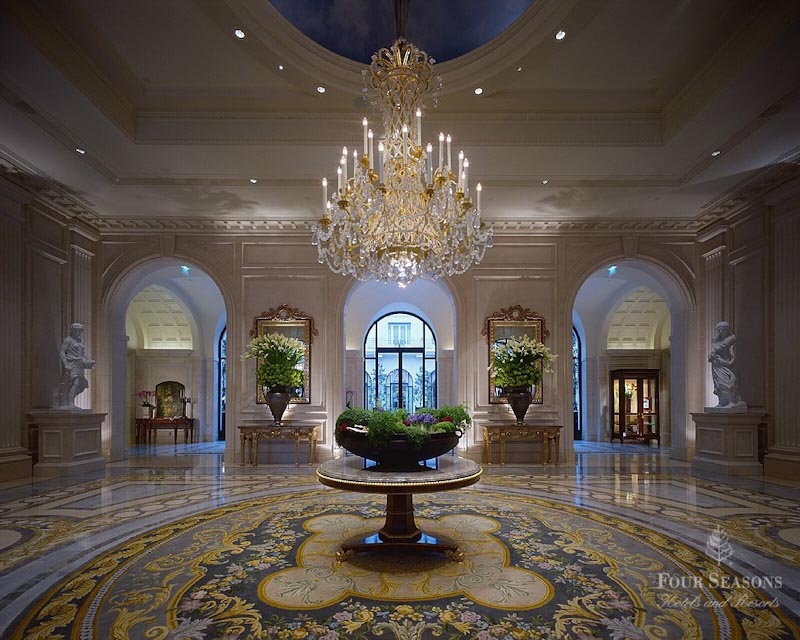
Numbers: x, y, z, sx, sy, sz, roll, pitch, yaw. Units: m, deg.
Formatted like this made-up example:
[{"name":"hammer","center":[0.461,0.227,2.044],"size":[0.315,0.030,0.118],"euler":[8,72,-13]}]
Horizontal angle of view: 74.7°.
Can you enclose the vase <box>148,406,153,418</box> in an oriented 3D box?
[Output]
[{"name":"vase","center":[-6.459,2.381,13.530],"size":[0.116,0.301,0.434],"euler":[2,-5,-18]}]

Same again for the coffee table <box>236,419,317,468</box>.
[{"name":"coffee table","center":[-2.253,2.286,9.640],"size":[1.450,0.766,0.842],"euler":[1,-5,-10]}]

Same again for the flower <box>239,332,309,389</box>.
[{"name":"flower","center":[-2.353,0.784,9.739],"size":[1.191,1.117,1.021],"euler":[0,-4,12]}]

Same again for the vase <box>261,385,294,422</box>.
[{"name":"vase","center":[-2.210,1.526,9.429],"size":[0.625,0.681,0.602],"euler":[1,-12,-3]}]

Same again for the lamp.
[{"name":"lamp","center":[0.042,-2.170,6.806],"size":[1.900,3.433,2.221],"euler":[0,-5,3]}]

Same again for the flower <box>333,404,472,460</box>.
[{"name":"flower","center":[-0.004,1.117,5.308],"size":[1.121,0.458,1.245],"euler":[7,2,43]}]

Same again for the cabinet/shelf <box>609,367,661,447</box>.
[{"name":"cabinet/shelf","center":[6.175,2.258,13.681],"size":[1.285,1.893,0.455],"euler":[0,-5,-2]}]

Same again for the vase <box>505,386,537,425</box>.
[{"name":"vase","center":[2.161,1.546,9.447],"size":[0.650,0.864,0.625],"euler":[-2,-8,8]}]

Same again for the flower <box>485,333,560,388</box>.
[{"name":"flower","center":[2.250,0.858,9.805],"size":[0.967,0.997,0.958],"euler":[1,-14,-13]}]
